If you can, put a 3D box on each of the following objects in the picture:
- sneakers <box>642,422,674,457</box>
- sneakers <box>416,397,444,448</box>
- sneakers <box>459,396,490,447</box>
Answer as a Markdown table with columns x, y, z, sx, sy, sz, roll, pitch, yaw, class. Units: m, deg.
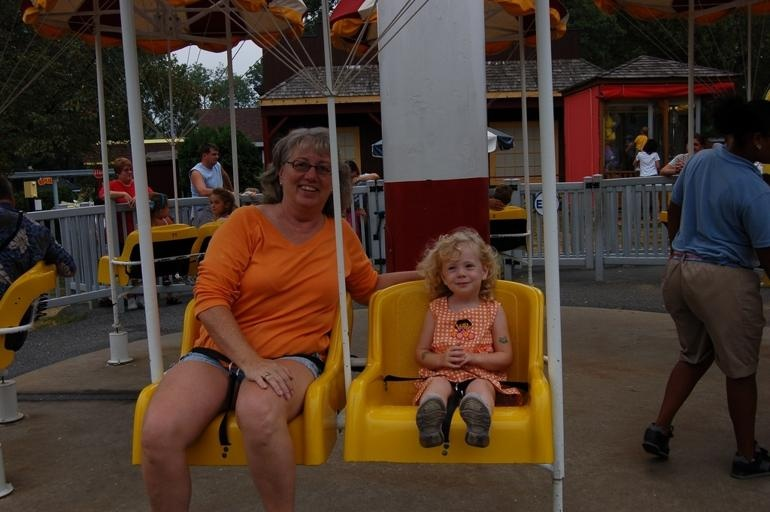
| x | y | z | sx | sy | sz | roll | pitch | yaw | class |
| --- | --- | --- | --- | --- | --- | --- | --- | --- | --- |
| 1.883 | 1.276 | 5.538 | 0.119 | 0.159 | 0.333 | 5 | -19 | 34 | sneakers |
| 0.263 | 0.948 | 4.615 | 0.141 | 0.284 | 0.112 | 3 | -6 | 2 | sneakers |
| 0.512 | 0.934 | 4.533 | 0.153 | 0.283 | 0.110 | -4 | -9 | 9 | sneakers |
